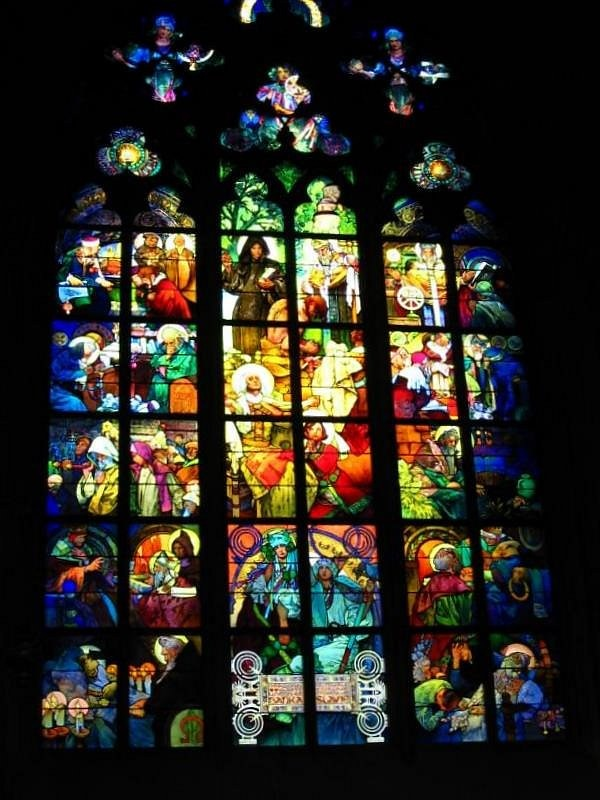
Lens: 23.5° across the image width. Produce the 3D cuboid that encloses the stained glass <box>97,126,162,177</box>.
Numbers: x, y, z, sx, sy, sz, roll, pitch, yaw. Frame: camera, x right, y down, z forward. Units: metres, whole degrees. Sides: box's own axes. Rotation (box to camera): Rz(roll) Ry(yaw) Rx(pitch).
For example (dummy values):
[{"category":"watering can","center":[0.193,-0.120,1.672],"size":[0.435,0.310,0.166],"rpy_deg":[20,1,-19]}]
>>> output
[{"category":"stained glass","center":[-1.402,-2.022,11.799],"size":[0.469,0.434,0.108],"rpy_deg":[3,-26,-11]}]

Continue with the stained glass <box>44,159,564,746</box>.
[{"category":"stained glass","center":[-0.067,0.223,10.971],"size":[3.773,4.041,3.015],"rpy_deg":[-4,11,-10]}]

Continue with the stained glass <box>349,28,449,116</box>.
[{"category":"stained glass","center":[0.789,-2.833,12.516],"size":[0.857,0.671,0.834],"rpy_deg":[-2,5,13]}]

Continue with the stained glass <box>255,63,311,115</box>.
[{"category":"stained glass","center":[-0.164,-2.685,12.357],"size":[0.530,0.390,0.065],"rpy_deg":[9,18,32]}]
